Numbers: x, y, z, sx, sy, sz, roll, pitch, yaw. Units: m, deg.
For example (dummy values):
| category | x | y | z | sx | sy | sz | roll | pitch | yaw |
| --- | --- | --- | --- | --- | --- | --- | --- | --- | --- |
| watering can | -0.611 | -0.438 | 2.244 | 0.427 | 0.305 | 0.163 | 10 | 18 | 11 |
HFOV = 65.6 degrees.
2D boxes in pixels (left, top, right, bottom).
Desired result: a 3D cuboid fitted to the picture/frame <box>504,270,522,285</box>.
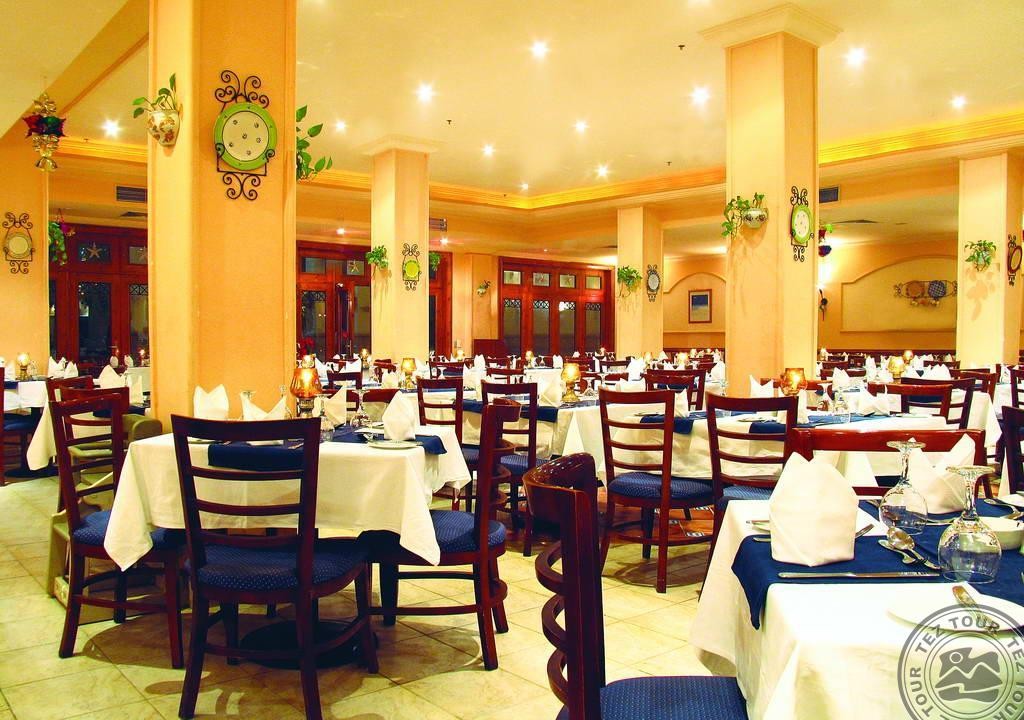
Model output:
| category | x | y | z | sx | sy | sz | roll | pitch | yaw |
| --- | --- | --- | --- | --- | --- | --- | --- | --- | --- |
| picture/frame | 0.039 | -2.026 | 19.691 | 0.638 | 0.385 | 0.052 | -2 | 2 | -43 |

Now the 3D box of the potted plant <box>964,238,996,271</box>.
| category | x | y | z | sx | sy | sz | roll | pitch | yaw |
| --- | --- | --- | --- | --- | --- | --- | --- | --- | --- |
| potted plant | 6.433 | -1.432 | 10.972 | 0.254 | 0.423 | 0.347 | -1 | 2 | -24 |

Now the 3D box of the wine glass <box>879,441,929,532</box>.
| category | x | y | z | sx | sy | sz | roll | pitch | yaw |
| --- | --- | --- | --- | --- | --- | --- | --- | --- | --- |
| wine glass | 1.400 | 0.430 | 2.849 | 0.138 | 0.308 | 0.324 | 1 | 2 | 27 |

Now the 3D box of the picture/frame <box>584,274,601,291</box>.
| category | x | y | z | sx | sy | sz | roll | pitch | yaw |
| --- | --- | --- | --- | --- | --- | --- | --- | --- | --- |
| picture/frame | 2.245 | -2.121 | 21.802 | 0.557 | 0.436 | 0.052 | -2 | 2 | -42 |

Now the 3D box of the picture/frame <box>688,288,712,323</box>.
| category | x | y | z | sx | sy | sz | roll | pitch | yaw |
| --- | --- | --- | --- | --- | --- | --- | --- | --- | --- |
| picture/frame | 5.222 | -1.523 | 21.960 | 0.051 | 1.231 | 0.897 | 1 | 1 | -37 |

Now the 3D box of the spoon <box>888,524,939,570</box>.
| category | x | y | z | sx | sy | sz | roll | pitch | yaw |
| --- | --- | --- | --- | --- | --- | --- | --- | --- | --- |
| spoon | 1.317 | 0.634 | 2.643 | 0.094 | 0.048 | 0.293 | -25 | 6 | 6 |

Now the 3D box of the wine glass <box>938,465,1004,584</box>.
| category | x | y | z | sx | sy | sz | roll | pitch | yaw |
| --- | --- | --- | --- | --- | --- | --- | --- | --- | --- |
| wine glass | 1.465 | 0.519 | 2.540 | 0.161 | 0.338 | 0.269 | 1 | 2 | 40 |

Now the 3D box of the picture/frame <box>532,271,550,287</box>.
| category | x | y | z | sx | sy | sz | roll | pitch | yaw |
| --- | --- | --- | --- | --- | --- | --- | --- | --- | --- |
| picture/frame | 0.766 | -2.057 | 20.394 | 0.041 | 0.372 | 0.661 | 2 | 2 | 44 |

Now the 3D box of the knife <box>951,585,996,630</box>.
| category | x | y | z | sx | sy | sz | roll | pitch | yaw |
| --- | --- | --- | --- | --- | --- | --- | --- | --- | --- |
| knife | 1.311 | 0.706 | 2.255 | 0.040 | 0.033 | 0.139 | -24 | 26 | 6 |

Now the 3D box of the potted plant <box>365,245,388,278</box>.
| category | x | y | z | sx | sy | sz | roll | pitch | yaw |
| --- | --- | --- | --- | --- | --- | --- | --- | --- | --- |
| potted plant | -1.980 | -1.467 | 11.638 | 0.243 | 0.418 | 0.480 | -1 | 2 | -30 |

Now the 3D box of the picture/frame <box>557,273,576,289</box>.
| category | x | y | z | sx | sy | sz | roll | pitch | yaw |
| --- | --- | --- | --- | --- | --- | --- | --- | --- | --- |
| picture/frame | 1.487 | -2.097 | 21.102 | 0.066 | 0.377 | 0.668 | 1 | 2 | 39 |

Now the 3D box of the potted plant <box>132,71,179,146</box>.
| category | x | y | z | sx | sy | sz | roll | pitch | yaw |
| --- | --- | --- | --- | --- | --- | --- | --- | --- | --- |
| potted plant | -2.177 | -1.556 | 5.011 | 0.325 | 0.333 | 0.315 | -26 | 14 | -33 |

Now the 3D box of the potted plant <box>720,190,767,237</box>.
| category | x | y | z | sx | sy | sz | roll | pitch | yaw |
| --- | --- | --- | --- | --- | --- | --- | --- | --- | --- |
| potted plant | 2.324 | -1.462 | 8.000 | 0.454 | 0.419 | 0.203 | 1 | 2 | 43 |
